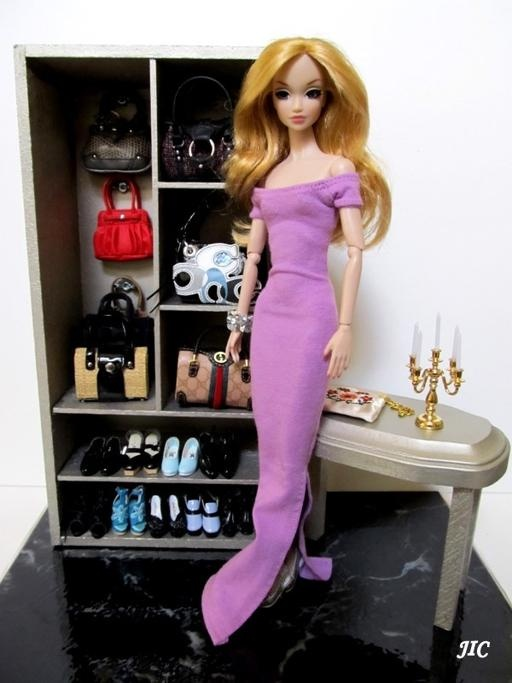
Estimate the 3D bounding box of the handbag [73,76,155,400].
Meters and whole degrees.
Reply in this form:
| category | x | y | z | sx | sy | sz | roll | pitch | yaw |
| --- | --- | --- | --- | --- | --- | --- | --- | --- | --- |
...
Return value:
| category | x | y | z | sx | sy | sz | roll | pitch | yaw |
| --- | --- | --- | --- | --- | --- | --- | --- | --- | --- |
| handbag | -0.629 | -0.440 | 2.534 | 0.353 | 1.334 | 0.519 | 0 | 15 | -15 |

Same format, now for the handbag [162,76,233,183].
| category | x | y | z | sx | sy | sz | roll | pitch | yaw |
| --- | --- | --- | --- | --- | --- | --- | --- | --- | --- |
| handbag | -0.240 | -0.885 | 2.417 | 0.276 | 0.417 | 0.490 | 3 | 15 | -4 |

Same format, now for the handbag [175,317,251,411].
| category | x | y | z | sx | sy | sz | roll | pitch | yaw |
| --- | --- | --- | --- | --- | --- | --- | --- | --- | --- |
| handbag | -0.190 | 0.107 | 2.462 | 0.424 | 0.434 | 0.181 | 1 | -1 | -4 |
